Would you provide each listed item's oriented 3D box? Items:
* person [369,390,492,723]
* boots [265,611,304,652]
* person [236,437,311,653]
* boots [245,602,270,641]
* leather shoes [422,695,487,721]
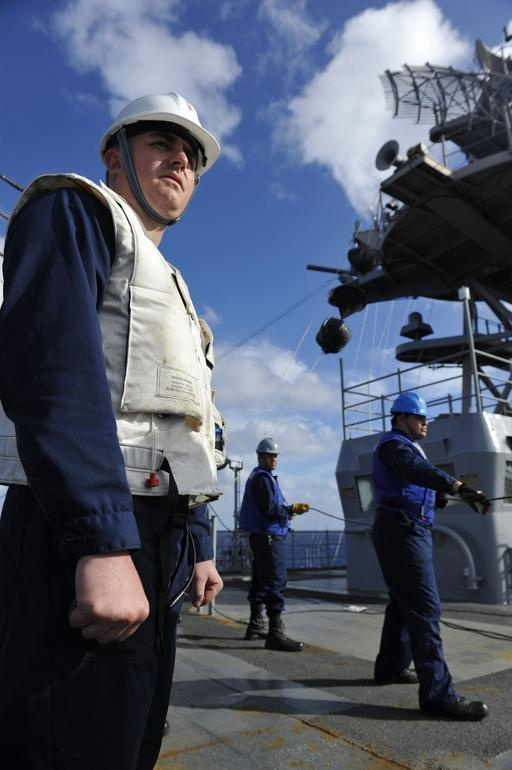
[{"bbox_3d":[0.922,0.872,3.824,0.571,1.711,1.165,-2,-4,10],"label":"person"},{"bbox_3d":[0.213,1.815,4.965,0.222,0.224,0.358,1,-4,-30],"label":"boots"},{"bbox_3d":[0.117,1.290,5.552,0.507,1.686,1.375,-2,-4,0],"label":"person"},{"bbox_3d":[0.004,1.926,5.554,0.180,0.251,0.421,-2,-4,0],"label":"boots"},{"bbox_3d":[0.970,1.548,3.274,0.316,0.121,0.103,-3,-11,6],"label":"leather shoes"}]
